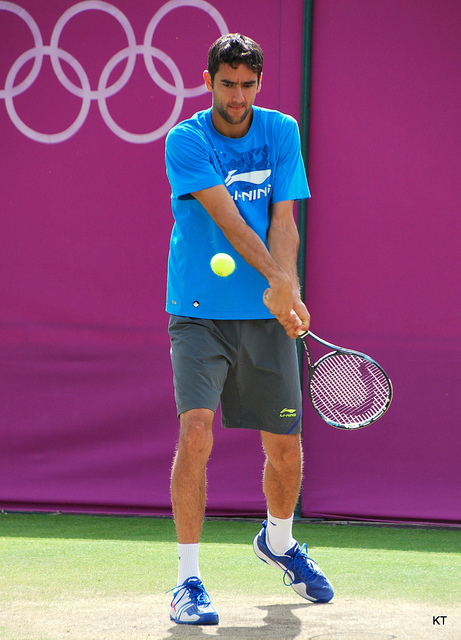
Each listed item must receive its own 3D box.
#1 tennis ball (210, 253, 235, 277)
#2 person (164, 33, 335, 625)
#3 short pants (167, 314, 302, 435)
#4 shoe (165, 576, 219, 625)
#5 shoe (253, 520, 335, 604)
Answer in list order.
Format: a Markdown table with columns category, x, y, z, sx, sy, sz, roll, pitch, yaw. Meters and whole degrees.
| category | x | y | z | sx | sy | sz | roll | pitch | yaw |
| --- | --- | --- | --- | --- | --- | --- | --- | --- | --- |
| tennis ball | -0.026 | -0.166 | 2.775 | 0.057 | 0.066 | 0.062 | 5 | 14 | -1 |
| person | 0.061 | 0.001 | 2.795 | 0.494 | 1.667 | 0.506 | 0 | 3 | -5 |
| short pants | 0.045 | 0.175 | 2.995 | 0.355 | 0.491 | 0.229 | 2 | -39 | -7 |
| shoe | -0.108 | 0.776 | 2.649 | 0.103 | 0.124 | 0.258 | 9 | -11 | -18 |
| shoe | 0.190 | 0.763 | 2.967 | 0.297 | 0.121 | 0.119 | 38 | 41 | 25 |
